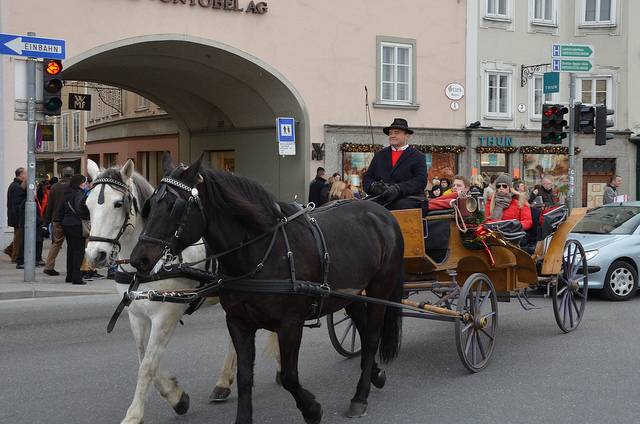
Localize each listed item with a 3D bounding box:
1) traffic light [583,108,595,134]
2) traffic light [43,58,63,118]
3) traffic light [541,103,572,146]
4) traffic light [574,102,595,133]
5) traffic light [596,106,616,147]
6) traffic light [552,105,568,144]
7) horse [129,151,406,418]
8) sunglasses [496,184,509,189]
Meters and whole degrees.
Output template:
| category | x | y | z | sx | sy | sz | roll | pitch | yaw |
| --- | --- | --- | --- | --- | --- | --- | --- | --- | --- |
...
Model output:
| category | x | y | z | sx | sy | sz | roll | pitch | yaw |
| --- | --- | --- | --- | --- | --- | --- | --- | --- | --- |
| traffic light | 7.249 | -2.461 | 20.480 | 0.245 | 0.647 | 0.483 | 1 | 5 | 21 |
| traffic light | -5.911 | -2.774 | 16.911 | 0.421 | 1.223 | 0.372 | -2 | 10 | -29 |
| traffic light | 6.257 | -2.370 | 20.301 | 0.642 | 1.060 | 0.707 | 1 | 5 | 17 |
| traffic light | 7.177 | -2.539 | 20.460 | 0.832 | 0.779 | 0.418 | -2 | 5 | -39 |
| traffic light | 8.302 | -2.530 | 22.160 | 0.446 | 1.120 | 4.327 | 1 | 5 | 21 |
| traffic light | 6.354 | -2.346 | 20.192 | 0.351 | 0.998 | 0.657 | 1 | 5 | 16 |
| horse | -1.478 | 1.116 | 12.159 | 6.073 | 4.344 | 2.143 | 10 | -16 | -41 |
| sunglasses | 3.506 | -0.491 | 14.605 | 0.221 | 0.085 | 0.061 | 0 | 5 | 13 |
